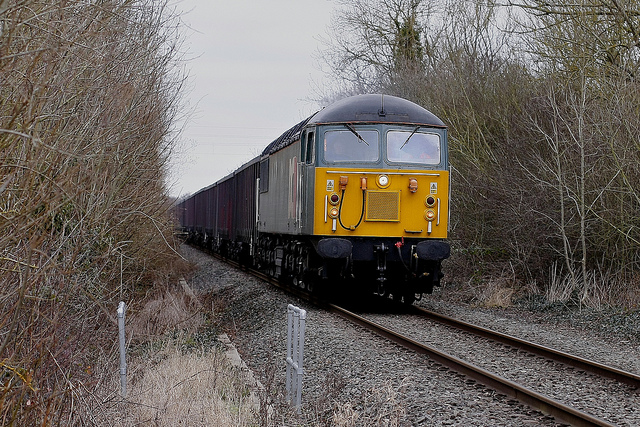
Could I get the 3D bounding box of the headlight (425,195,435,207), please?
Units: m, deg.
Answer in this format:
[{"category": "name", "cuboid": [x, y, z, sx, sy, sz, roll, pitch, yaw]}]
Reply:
[{"category": "headlight", "cuboid": [2.533, -0.282, 10.699, 0.214, 0.280, 0.070, 2, -2, -21]}]
